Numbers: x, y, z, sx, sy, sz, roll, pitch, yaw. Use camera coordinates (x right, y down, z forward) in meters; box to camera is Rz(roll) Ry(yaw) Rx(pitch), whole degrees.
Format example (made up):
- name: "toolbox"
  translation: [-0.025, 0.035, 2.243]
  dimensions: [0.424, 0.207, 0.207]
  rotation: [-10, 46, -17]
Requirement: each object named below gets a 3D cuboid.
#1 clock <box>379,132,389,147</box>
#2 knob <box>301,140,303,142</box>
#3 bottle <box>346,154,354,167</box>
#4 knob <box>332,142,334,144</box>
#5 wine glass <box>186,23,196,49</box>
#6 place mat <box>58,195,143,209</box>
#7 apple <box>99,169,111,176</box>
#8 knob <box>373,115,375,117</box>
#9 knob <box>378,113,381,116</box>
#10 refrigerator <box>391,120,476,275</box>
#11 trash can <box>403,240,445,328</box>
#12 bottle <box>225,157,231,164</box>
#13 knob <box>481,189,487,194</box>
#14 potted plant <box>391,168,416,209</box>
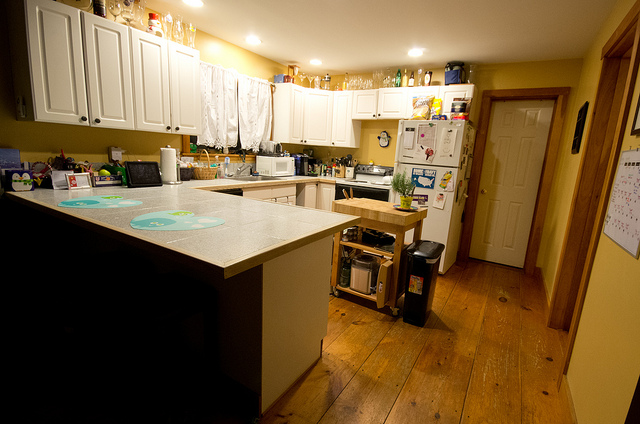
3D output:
- name: "clock"
  translation: [0.958, -1.103, 6.058]
  dimensions: [0.182, 0.239, 0.033]
  rotation: [14, 27, 41]
- name: "knob"
  translation: [-0.281, -1.074, 6.056]
  dimensions: [0.022, 0.042, 0.022]
  rotation: [5, 21, 12]
- name: "bottle"
  translation: [0.464, -0.808, 6.332]
  dimensions: [0.070, 0.215, 0.077]
  rotation: [0, 6, 0]
- name: "knob"
  translation: [0.196, -1.062, 6.162]
  dimensions: [0.025, 0.025, 0.017]
  rotation: [6, 56, -1]
- name: "wine glass"
  translation: [-1.509, -2.087, 4.749]
  dimensions: [0.115, 0.250, 0.102]
  rotation: [-7, 16, -30]
- name: "place mat"
  translation: [-1.844, -0.079, 3.361]
  dimensions: [0.546, 0.027, 0.503]
  rotation: [9, 16, 30]
- name: "apple"
  translation: [-2.173, -0.404, 4.074]
  dimensions: [0.060, 0.066, 0.079]
  rotation: [9, 2, 12]
- name: "knob"
  translation: [0.769, -1.386, 5.766]
  dimensions: [0.027, 0.028, 0.051]
  rotation: [6, 5, 16]
- name: "knob"
  translation: [0.838, -1.379, 5.695]
  dimensions: [0.026, 0.026, 0.014]
  rotation: [15, 32, 36]
- name: "refrigerator"
  translation: [1.556, -0.509, 5.464]
  dimensions: [0.989, 1.844, 0.952]
  rotation: [4, 38, 18]
- name: "trash can"
  translation: [1.011, 0.709, 4.025]
  dimensions: [0.279, 0.786, 0.373]
  rotation: [11, 17, 37]
- name: "bottle"
  translation: [-1.238, -0.701, 5.366]
  dimensions: [0.072, 0.100, 0.057]
  rotation: [-1, 4, -18]
- name: "knob"
  translation: [2.224, -0.283, 5.479]
  dimensions: [0.050, 0.052, 0.031]
  rotation: [17, 4, 33]
- name: "potted plant"
  translation: [0.874, -0.242, 4.253]
  dimensions: [0.216, 0.381, 0.387]
  rotation: [4, 14, 11]
